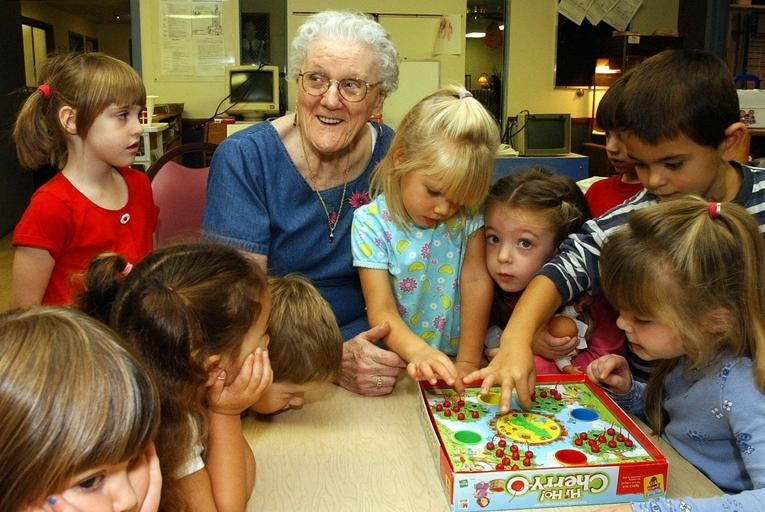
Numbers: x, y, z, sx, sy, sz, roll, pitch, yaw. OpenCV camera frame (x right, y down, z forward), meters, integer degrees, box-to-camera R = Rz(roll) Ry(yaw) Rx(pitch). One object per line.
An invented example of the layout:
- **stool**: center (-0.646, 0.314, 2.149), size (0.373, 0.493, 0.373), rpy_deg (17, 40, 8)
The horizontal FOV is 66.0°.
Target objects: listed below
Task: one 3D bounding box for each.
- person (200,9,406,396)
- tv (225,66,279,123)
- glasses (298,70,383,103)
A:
- **person**: center (-0.203, -0.186, 1.990), size (0.702, 1.163, 0.738), rpy_deg (-8, 37, -21)
- **tv**: center (-1.088, -1.317, 4.997), size (0.475, 0.465, 0.385), rpy_deg (-1, -8, -16)
- **glasses**: center (-0.140, -0.535, 1.876), size (0.234, 0.091, 0.077), rpy_deg (0, 15, -1)
